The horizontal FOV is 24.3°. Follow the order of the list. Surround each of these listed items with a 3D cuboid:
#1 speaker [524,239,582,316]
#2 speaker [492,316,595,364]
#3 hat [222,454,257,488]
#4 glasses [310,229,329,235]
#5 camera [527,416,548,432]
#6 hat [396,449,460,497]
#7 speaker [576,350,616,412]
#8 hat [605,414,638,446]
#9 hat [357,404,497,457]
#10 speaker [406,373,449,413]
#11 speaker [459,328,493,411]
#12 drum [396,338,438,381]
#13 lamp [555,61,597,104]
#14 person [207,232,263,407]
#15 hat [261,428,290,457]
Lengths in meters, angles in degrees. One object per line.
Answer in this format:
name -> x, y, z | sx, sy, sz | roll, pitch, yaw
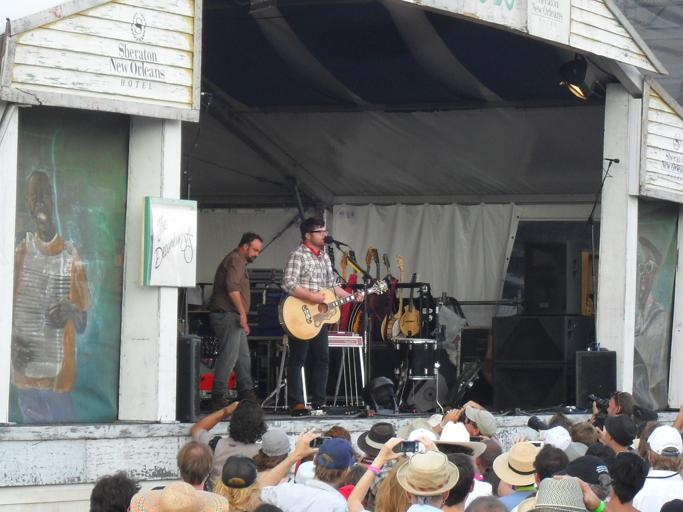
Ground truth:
speaker -> 2.101, 0.206, 16.325 | 0.747, 0.765, 0.661 | 2, 3, 30
speaker -> 2.025, 0.858, 16.144 | 1.041, 0.488, 0.581 | 1, -22, 31
hat -> -0.798, 1.610, 12.085 | 0.317, 0.210, 0.422 | 2, 11, -3
glasses -> -0.241, -0.243, 15.636 | 0.112, 0.032, 0.110 | -5, -6, 40
camera -> 1.669, 1.465, 13.740 | 0.131, 0.105, 0.221 | 6, 4, -28
hat -> 0.643, 1.611, 11.722 | 0.462, 0.330, 0.178 | 2, -3, 3
speaker -> 2.545, 1.206, 15.506 | 0.388, 0.637, 0.227 | 1, 17, 18
hat -> 2.339, 1.448, 13.154 | 0.203, 0.266, 0.137 | -12, -29, -10
hat -> 0.694, 1.438, 12.831 | 0.691, 0.260, 0.594 | -5, -1, -2
speaker -> 0.951, 1.464, 16.541 | 0.543, 0.377, 0.149 | -21, -17, 13
speaker -> 1.439, 1.152, 16.691 | 0.545, 0.722, 0.218 | 0, -5, 23
drum -> 0.777, 1.084, 16.440 | 0.445, 0.399, 0.439 | -1, 0, 4
lamp -> 2.370, -1.773, 15.732 | 0.289, 0.404, 0.134 | -13, -35, -20
person -> -1.056, 0.614, 15.186 | 0.477, 1.727, 0.635 | 2, -3, -4
hat -> -0.536, 1.473, 12.669 | 0.173, 0.131, 0.240 | -1, 26, -1
